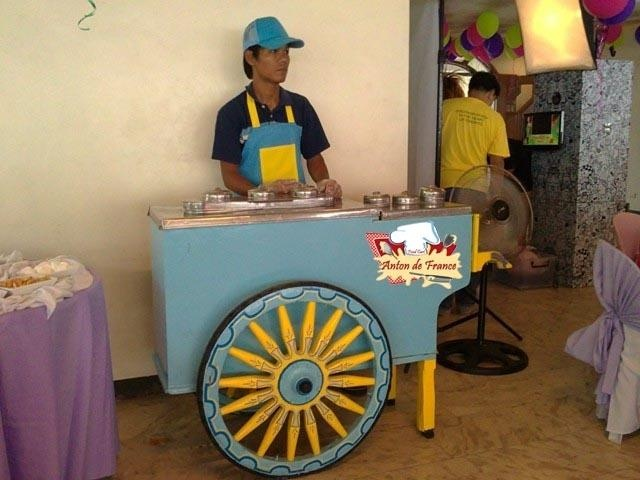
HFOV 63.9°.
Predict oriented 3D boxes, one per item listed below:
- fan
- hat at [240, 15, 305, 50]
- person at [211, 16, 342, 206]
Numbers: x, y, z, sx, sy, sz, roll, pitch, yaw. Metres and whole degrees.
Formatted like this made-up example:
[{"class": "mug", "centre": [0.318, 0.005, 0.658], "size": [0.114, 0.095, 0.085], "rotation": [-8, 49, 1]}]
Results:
[{"class": "fan", "centre": [1.049, 0.207, 3.244], "size": [0.598, 1.334, 1.354], "rotation": [5, 14, 21]}, {"class": "hat", "centre": [-0.267, -1.110, 2.766], "size": [0.342, 0.176, 0.233], "rotation": [13, 26, 40]}, {"class": "person", "centre": [-0.264, -0.730, 2.823], "size": [0.675, 0.928, 0.334], "rotation": [-4, 14, -12]}]
